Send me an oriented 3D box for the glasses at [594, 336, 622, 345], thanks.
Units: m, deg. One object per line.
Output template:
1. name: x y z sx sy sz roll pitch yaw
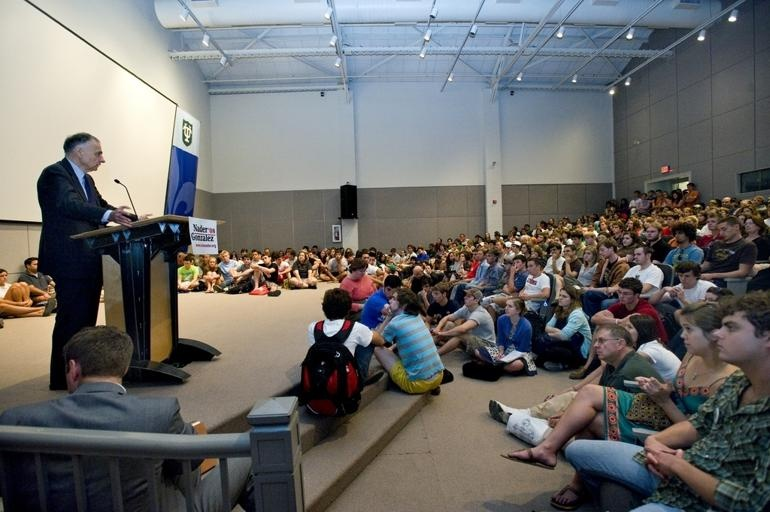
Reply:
1. glasses: 2.076 0.761 4.493 0.251 0.116 0.055 -1 2 10

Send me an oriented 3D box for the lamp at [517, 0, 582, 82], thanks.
1. lamp: 4.110 -5.354 12.444 0.580 0.372 3.286 34 -25 10

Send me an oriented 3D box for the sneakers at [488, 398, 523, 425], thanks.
1. sneakers: 1.202 1.609 5.040 0.194 0.155 0.428 4 2 -5

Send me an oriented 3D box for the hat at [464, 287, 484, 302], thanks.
1. hat: 1.190 0.512 6.495 0.215 0.129 0.151 28 -8 -14

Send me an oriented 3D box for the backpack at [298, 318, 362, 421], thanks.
1. backpack: -0.517 1.028 4.611 0.552 0.885 0.452 1 -2 15

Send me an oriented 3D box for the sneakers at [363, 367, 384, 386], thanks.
1. sneakers: -0.111 1.298 5.277 0.087 0.142 0.439 0 3 27

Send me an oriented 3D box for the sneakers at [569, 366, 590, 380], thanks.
1. sneakers: 2.374 1.419 5.986 0.199 0.132 0.204 0 3 34

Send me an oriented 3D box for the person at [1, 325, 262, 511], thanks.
1. person: -1.764 1.137 3.273 1.462 1.287 0.383 -1 2 0

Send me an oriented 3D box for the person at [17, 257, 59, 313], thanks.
1. person: -6.089 0.444 8.687 0.716 0.854 0.586 -1 5 13
